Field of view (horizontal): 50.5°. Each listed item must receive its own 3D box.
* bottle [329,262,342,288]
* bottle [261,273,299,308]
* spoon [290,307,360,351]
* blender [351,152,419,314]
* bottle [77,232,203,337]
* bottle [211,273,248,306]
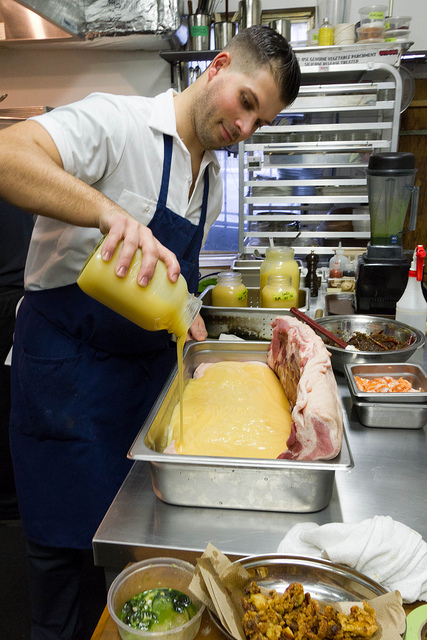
[{"bbox_3d":[0.693,-0.247,2.550,0.065,0.116,0.167,7,18,14],"label":"bottle"},{"bbox_3d":[0.270,-0.122,1.857,0.127,0.149,0.129,-5,9,-41],"label":"bottle"},{"bbox_3d":[0.342,0.027,1.450,0.034,0.083,0.252,-43,60,-18],"label":"spoon"},{"bbox_3d":[0.738,-0.359,2.040,0.265,0.800,0.283,2,20,7],"label":"blender"},{"bbox_3d":[-0.123,-0.060,0.914,0.269,0.229,0.109,-11,22,-39],"label":"bottle"},{"bbox_3d":[0.069,-0.127,1.945,0.130,0.155,0.138,0,5,-4],"label":"bottle"}]
